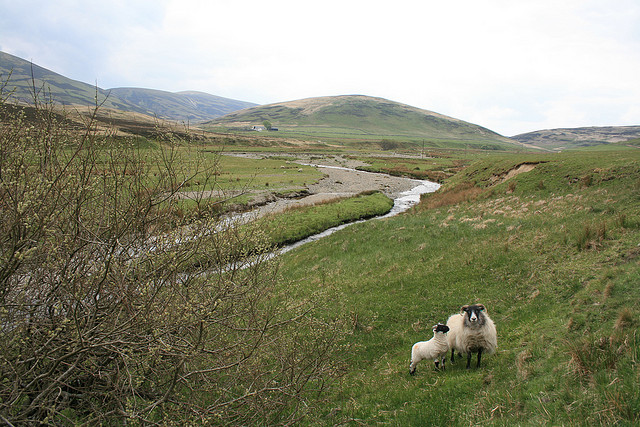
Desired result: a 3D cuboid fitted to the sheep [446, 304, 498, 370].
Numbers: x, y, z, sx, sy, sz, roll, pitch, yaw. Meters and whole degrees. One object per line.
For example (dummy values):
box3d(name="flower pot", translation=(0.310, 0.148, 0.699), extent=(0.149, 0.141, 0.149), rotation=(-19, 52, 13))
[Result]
box3d(name="sheep", translation=(7.249, 5.963, 23.318), extent=(2.167, 3.251, 1.033), rotation=(10, 7, 39))
